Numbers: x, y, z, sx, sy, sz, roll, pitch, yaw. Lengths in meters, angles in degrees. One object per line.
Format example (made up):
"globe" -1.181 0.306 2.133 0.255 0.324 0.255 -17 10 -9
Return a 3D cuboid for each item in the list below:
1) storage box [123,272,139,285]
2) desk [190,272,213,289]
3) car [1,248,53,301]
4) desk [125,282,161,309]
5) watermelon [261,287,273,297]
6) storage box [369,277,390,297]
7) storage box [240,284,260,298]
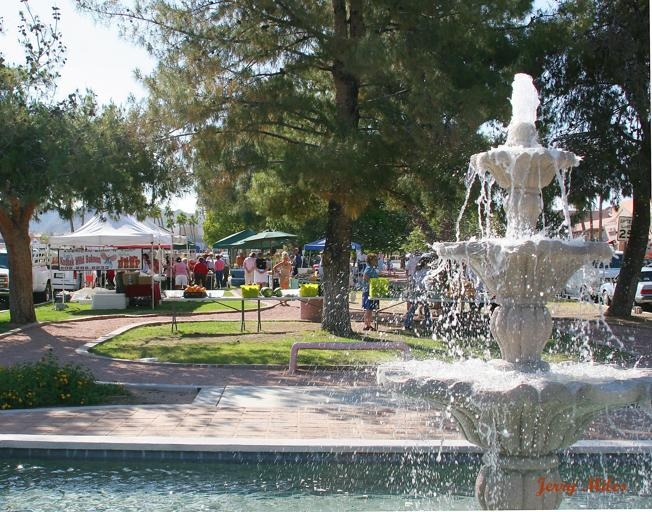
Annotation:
"storage box" -6.388 0.691 28.280 0.326 0.401 0.226 0 14 -13
"desk" -4.439 0.869 30.730 0.491 0.441 1.455 12 1 -13
"car" -10.720 0.796 30.603 1.685 1.860 3.718 0 -3 0
"desk" -6.010 1.255 28.346 0.850 0.659 0.949 0 1 -3
"watermelon" -1.495 0.888 21.389 0.302 0.219 0.785 1 0 -5
"storage box" 1.248 0.809 22.318 0.443 0.520 0.129 -11 14 -38
"storage box" -1.831 0.833 20.636 0.424 0.299 0.694 1 0 -8
